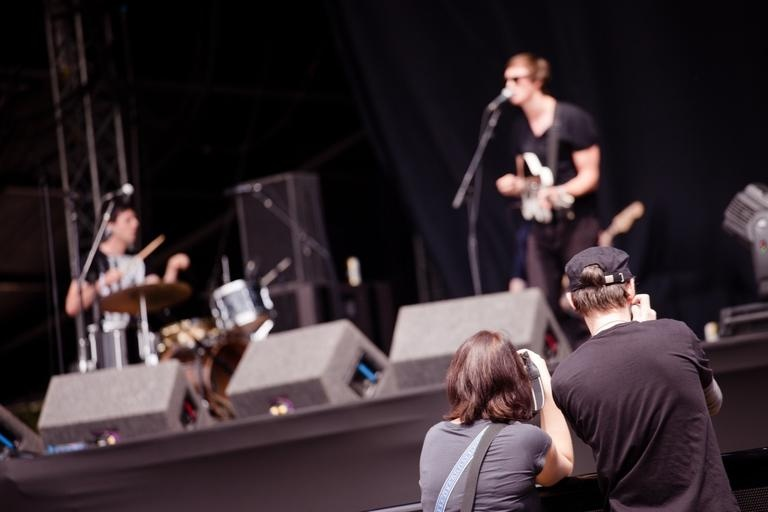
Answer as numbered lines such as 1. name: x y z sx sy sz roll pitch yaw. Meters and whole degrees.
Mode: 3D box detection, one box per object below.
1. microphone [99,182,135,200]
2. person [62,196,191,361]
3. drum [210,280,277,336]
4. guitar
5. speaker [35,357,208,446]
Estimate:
1. microphone: -2.211 -0.532 6.434 0.193 0.059 0.061 -11 30 -3
2. person: -1.955 0.252 6.379 1.153 1.171 0.979 -2 1 -31
3. drum: -1.188 0.425 6.533 0.466 0.342 0.472 -15 -15 -4
4. guitar: 1.262 -0.521 5.914 0.148 0.490 0.472 -16 16 -36
5. speaker: -1.763 0.955 5.068 0.956 0.530 0.477 -5 -33 6
